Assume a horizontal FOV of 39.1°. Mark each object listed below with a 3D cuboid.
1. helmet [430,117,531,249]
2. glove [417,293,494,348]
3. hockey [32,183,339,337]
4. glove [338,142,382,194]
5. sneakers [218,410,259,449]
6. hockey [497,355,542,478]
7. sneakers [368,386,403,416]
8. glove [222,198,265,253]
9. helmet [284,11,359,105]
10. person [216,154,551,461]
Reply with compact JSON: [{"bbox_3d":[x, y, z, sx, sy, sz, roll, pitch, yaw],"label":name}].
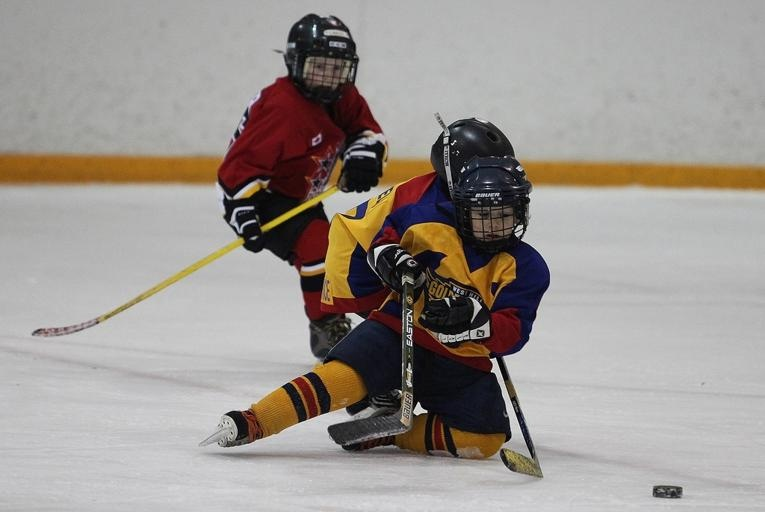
[{"bbox_3d":[0.477,-0.332,5.091,0.425,0.359,0.652,-18,57,-13],"label":"helmet"},{"bbox_3d":[0.325,0.300,4.794,0.288,0.204,0.115,-1,54,15],"label":"glove"},{"bbox_3d":[-1.315,0.050,7.128,2.186,0.106,0.283,-28,26,15],"label":"hockey"},{"bbox_3d":[-0.131,-0.502,6.051,0.263,0.268,0.134,6,6,-20],"label":"glove"},{"bbox_3d":[-0.649,0.792,4.869,0.213,0.196,0.101,6,12,6],"label":"sneakers"},{"bbox_3d":[0.594,0.702,4.876,0.019,0.608,0.279,-12,-2,-27],"label":"hockey"},{"bbox_3d":[0.011,0.685,5.069,0.161,0.131,0.112,5,1,-3],"label":"sneakers"},{"bbox_3d":[-0.711,-0.184,5.780,0.193,0.310,0.132,-31,-5,33],"label":"glove"},{"bbox_3d":[-0.340,-1.108,5.937,0.408,0.458,0.483,-2,20,-27],"label":"helmet"},{"bbox_3d":[0.039,0.248,4.896,1.542,1.357,0.847,0,14,-35],"label":"person"}]
